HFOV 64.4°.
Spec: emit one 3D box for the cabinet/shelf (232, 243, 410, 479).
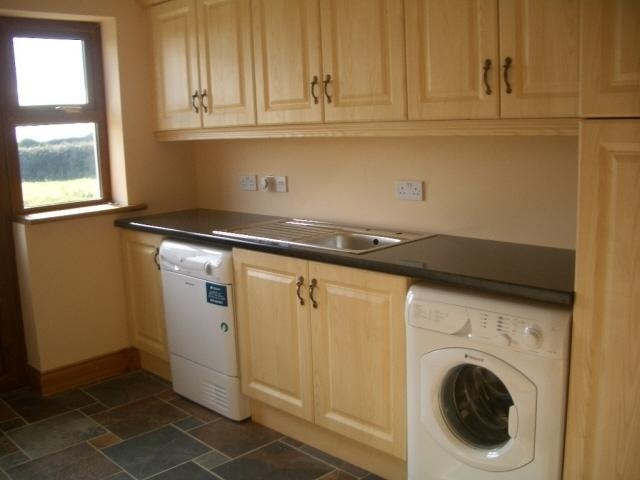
[{"bbox_3d":[0.028,0.615,2.602,0.960,0.969,0.536,9,15,38],"label":"cabinet/shelf"}]
